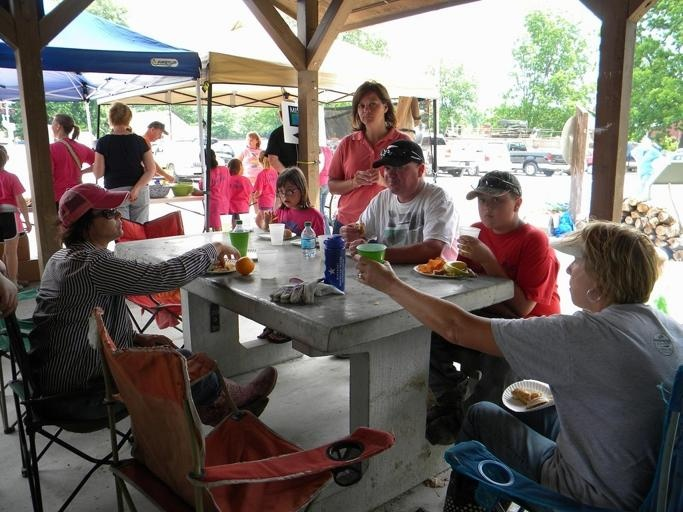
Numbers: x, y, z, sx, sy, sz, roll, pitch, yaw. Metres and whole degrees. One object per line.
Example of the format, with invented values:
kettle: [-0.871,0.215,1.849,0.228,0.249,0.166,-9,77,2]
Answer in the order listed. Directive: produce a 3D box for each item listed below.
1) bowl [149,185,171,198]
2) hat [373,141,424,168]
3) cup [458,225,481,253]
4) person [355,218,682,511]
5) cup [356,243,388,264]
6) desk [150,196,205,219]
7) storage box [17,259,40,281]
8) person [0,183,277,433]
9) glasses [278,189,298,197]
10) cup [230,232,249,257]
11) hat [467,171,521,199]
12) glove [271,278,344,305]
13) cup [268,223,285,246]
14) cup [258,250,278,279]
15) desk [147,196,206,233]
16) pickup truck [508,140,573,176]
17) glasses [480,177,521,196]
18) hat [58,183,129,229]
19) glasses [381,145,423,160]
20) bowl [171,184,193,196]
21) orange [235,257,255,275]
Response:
bowl: [-2.432,-0.851,6.835,0.189,0.086,0.226,3,14,13]
hat: [0.361,-0.602,3.118,0.239,0.116,0.169,-1,5,-26]
cup: [0.650,-0.081,2.647,0.137,0.139,0.136,1,-8,0]
person: [0.923,0.346,2.302,1.075,1.262,1.188,-2,6,-34]
cup: [0.131,-0.010,2.231,0.101,0.062,0.098,-1,1,0]
desk: [-3.069,-0.892,9.485,0.880,0.295,1.274,-5,10,-29]
storage box: [-3.503,0.142,5.820,0.290,0.271,0.282,-2,8,-27]
person: [-0.993,0.267,2.828,1.323,1.211,0.902,-1,-3,-38]
glasses: [-0.430,-0.488,3.937,0.172,0.056,0.069,6,11,26]
cup: [-0.563,-0.067,2.840,0.133,0.131,0.130,-1,4,0]
hat: [0.866,-0.391,2.885,0.238,0.115,0.170,4,1,-9]
glove: [-0.154,0.148,2.256,0.218,0.079,0.285,8,12,35]
cup: [-0.399,-0.141,3.387,0.129,0.132,0.129,2,8,0]
cup: [-0.366,0.040,2.572,0.131,0.132,0.128,-1,9,0]
desk: [-2.743,-0.804,8.961,1.231,0.697,0.733,-2,8,12]
pickup truck: [7.093,-3.508,18.440,2.018,1.214,1.128,4,11,16]
glasses: [0.888,-0.377,2.868,0.165,0.081,0.113,16,3,-14]
hat: [-1.215,-0.284,2.513,0.367,0.159,0.223,-19,17,-8]
glasses: [0.374,-0.617,3.098,0.169,0.074,0.119,-1,9,-23]
bowl: [-2.068,-0.857,6.641,0.184,0.095,0.185,0,7,0]
orange: [-0.487,0.051,2.639,0.096,0.091,0.088,-2,-19,14]
